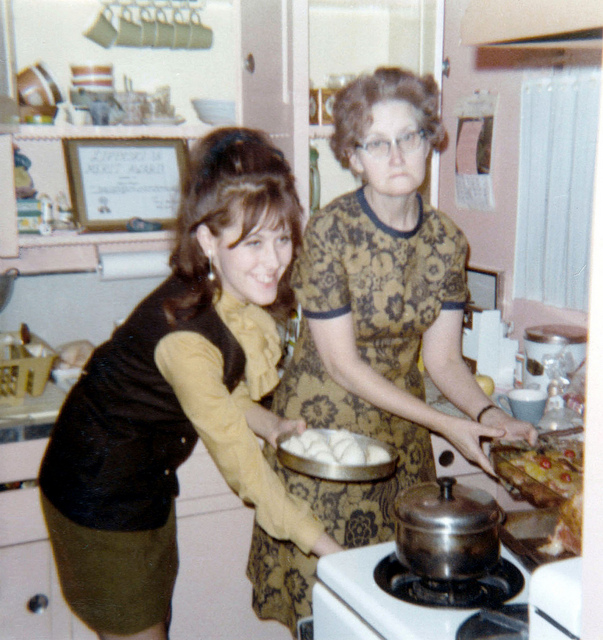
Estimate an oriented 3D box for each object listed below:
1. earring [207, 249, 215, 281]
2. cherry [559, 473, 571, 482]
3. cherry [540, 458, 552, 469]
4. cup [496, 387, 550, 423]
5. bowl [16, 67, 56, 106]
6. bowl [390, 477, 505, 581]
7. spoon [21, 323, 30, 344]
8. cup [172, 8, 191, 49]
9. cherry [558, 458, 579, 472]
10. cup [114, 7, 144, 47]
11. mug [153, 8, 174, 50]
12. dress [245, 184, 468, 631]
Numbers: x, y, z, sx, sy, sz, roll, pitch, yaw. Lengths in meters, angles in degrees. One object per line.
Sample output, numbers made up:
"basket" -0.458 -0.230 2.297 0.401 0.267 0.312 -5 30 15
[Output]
"earring" -0.166 -0.100 1.076 0.013 0.055 0.027 -4 16 4
"cherry" 0.404 0.241 0.909 0.010 0.009 0.020 -10 16 -17
"cherry" 0.388 0.228 0.943 0.012 0.012 0.020 -9 16 -13
"cup" 0.609 0.218 1.639 0.150 0.081 0.125 2 7 42
"bowl" -0.921 -0.807 2.046 0.111 0.122 0.050 -10 17 -17
"bowl" 0.179 0.249 0.748 0.140 0.099 0.135 -1 8 0
"spoon" -0.892 0.045 1.909 0.022 0.050 0.107 -11 16 -20
"cup" -0.446 -1.067 2.168 0.068 0.132 0.049 -11 17 -20
"cherry" 0.414 0.225 0.923 0.021 0.005 0.012 34 43 25
"cup" -0.615 -1.021 2.110 0.107 0.117 0.077 5 -8 -34
"mug" -0.508 -1.061 2.153 0.074 0.131 0.063 -10 17 -16
"dress" 0.097 0.198 1.376 0.510 0.981 0.336 -19 21 -39
